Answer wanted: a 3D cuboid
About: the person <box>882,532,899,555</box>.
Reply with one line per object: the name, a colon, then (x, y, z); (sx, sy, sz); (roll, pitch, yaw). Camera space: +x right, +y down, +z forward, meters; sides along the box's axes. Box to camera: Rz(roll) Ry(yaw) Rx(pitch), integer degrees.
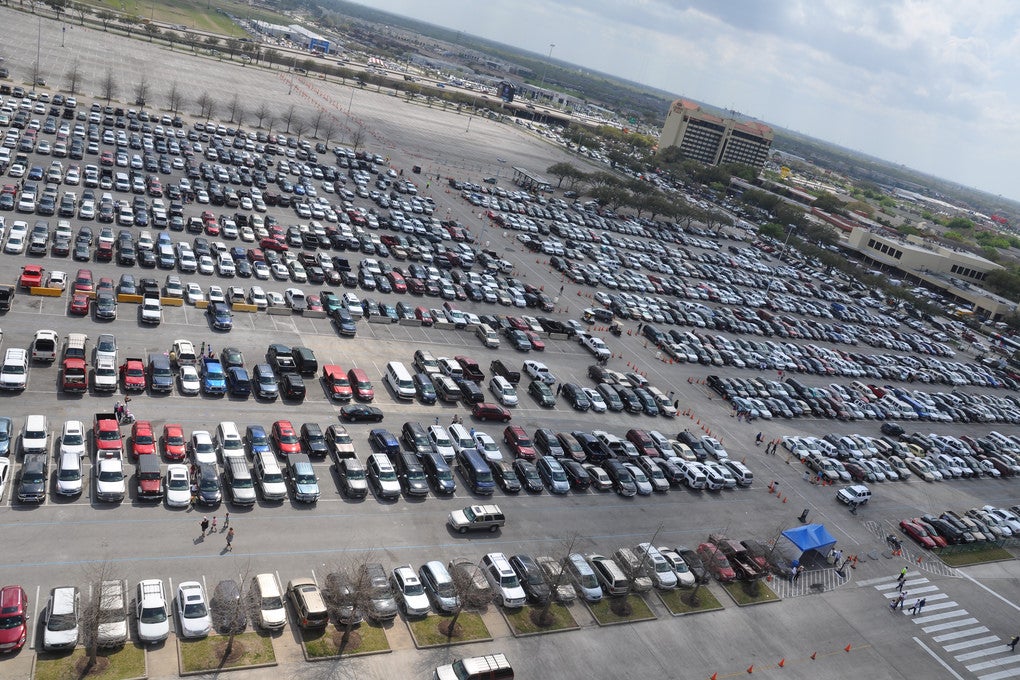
person: (34.364, 18.252, 62.568); (1.234, 0.933, 3.069); (32, 32, 12)
